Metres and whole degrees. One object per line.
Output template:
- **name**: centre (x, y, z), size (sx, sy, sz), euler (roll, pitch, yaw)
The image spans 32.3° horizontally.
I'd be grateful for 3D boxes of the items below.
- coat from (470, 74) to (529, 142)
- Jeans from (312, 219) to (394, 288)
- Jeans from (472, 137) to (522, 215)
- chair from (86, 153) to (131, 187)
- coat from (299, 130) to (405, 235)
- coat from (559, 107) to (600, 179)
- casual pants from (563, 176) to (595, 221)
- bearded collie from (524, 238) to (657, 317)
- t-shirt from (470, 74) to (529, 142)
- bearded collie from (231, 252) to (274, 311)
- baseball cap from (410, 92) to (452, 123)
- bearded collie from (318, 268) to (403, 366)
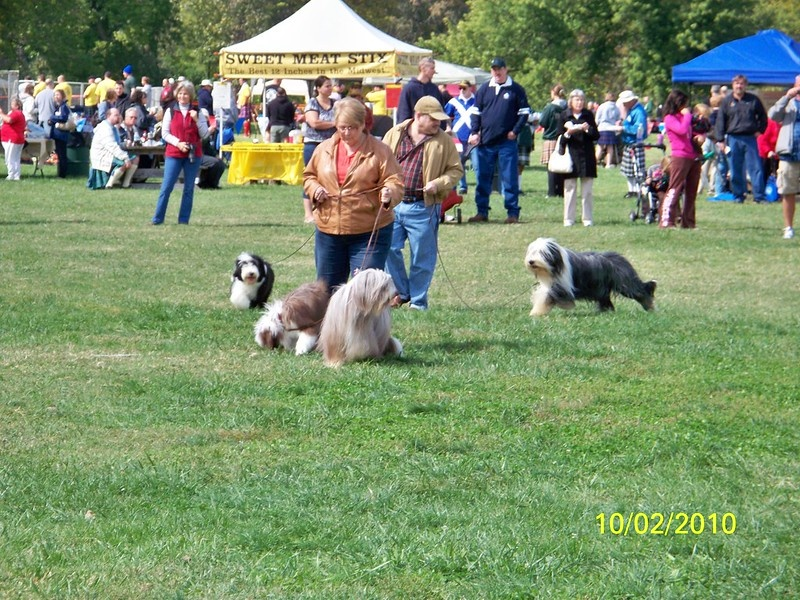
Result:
- **coat**: centre (1.599, -3.033, 22.435), size (0.918, 1.045, 0.612), euler (2, 14, 3)
- **Jeans**: centre (-0.501, -0.496, 14.503), size (0.479, 1.005, 0.351), euler (10, 9, 14)
- **Jeans**: centre (1.581, -2.139, 22.955), size (0.779, 1.800, 0.498), euler (2, 34, 10)
- **chair**: centre (-5.945, -2.592, 27.993), size (0.744, 0.634, 0.428), euler (-3, 14, -17)
- **coat**: centre (-0.510, -1.292, 14.706), size (1.125, 1.073, 0.675), euler (2, 11, 17)
- **coat**: centre (2.847, -2.506, 22.148), size (0.617, 1.115, 0.467), euler (2, 13, 1)
- **casual pants**: centre (2.911, -1.646, 22.589), size (0.424, 0.817, 0.796), euler (6, 15, 19)
- **bearded collie**: centre (2.276, -0.274, 16.612), size (1.781, 0.897, 0.585), euler (1, 16, -23)
- **t-shirt**: centre (1.599, -3.031, 22.429), size (0.917, 1.045, 0.596), euler (2, 14, 3)
- **bearded collie**: centre (-1.786, -0.244, 16.553), size (0.393, 0.661, 1.245), euler (2, 7, -5)
- **baseball cap**: centre (0.336, -2.169, 15.682), size (0.327, 0.196, 0.243), euler (9, 17, 5)
- **bearded collie**: centre (-0.433, 0.098, 14.248), size (0.828, 1.078, 1.023), euler (-5, 15, -21)
